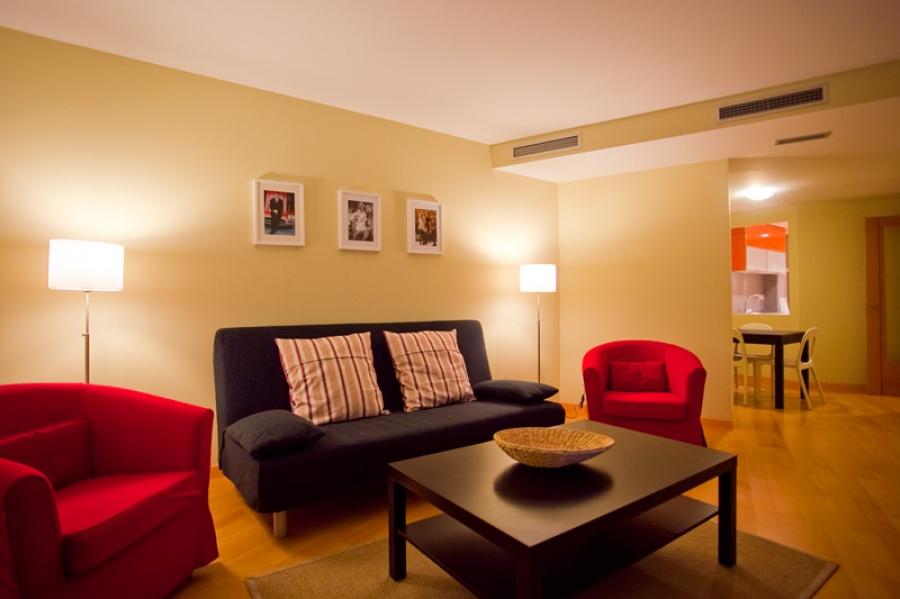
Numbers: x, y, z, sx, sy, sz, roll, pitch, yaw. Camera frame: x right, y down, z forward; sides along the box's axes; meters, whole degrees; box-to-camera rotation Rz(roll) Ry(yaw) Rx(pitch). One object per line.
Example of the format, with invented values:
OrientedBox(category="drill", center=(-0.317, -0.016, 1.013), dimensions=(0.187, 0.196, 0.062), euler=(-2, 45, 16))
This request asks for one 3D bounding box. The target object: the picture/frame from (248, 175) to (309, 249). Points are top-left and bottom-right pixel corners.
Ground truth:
OrientedBox(category="picture/frame", center=(-1.462, -0.733, 5.156), dimensions=(0.671, 0.821, 0.063), euler=(1, 2, -35))

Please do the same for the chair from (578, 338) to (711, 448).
OrientedBox(category="chair", center=(1.739, 0.841, 5.598), dimensions=(1.089, 0.888, 0.979), euler=(1, 0, 5))

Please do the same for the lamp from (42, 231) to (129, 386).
OrientedBox(category="lamp", center=(-2.554, 0.088, 4.371), dimensions=(0.446, 1.030, 0.440), euler=(-3, 4, -27))

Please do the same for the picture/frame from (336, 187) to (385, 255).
OrientedBox(category="picture/frame", center=(-0.822, -0.704, 5.517), dimensions=(0.644, 0.771, 0.056), euler=(3, -1, -39))

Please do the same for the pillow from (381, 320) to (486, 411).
OrientedBox(category="pillow", center=(-0.165, 0.607, 5.336), dimensions=(0.778, 0.616, 0.381), euler=(0, -1, -43))

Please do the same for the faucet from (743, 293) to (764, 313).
OrientedBox(category="faucet", center=(4.682, 0.053, 9.420), dimensions=(0.322, 0.366, 0.245), euler=(-3, -4, 39))

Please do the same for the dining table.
OrientedBox(category="dining table", center=(3.776, 0.783, 7.460), dimensions=(0.905, 0.903, 0.973), euler=(0, 1, 44))
